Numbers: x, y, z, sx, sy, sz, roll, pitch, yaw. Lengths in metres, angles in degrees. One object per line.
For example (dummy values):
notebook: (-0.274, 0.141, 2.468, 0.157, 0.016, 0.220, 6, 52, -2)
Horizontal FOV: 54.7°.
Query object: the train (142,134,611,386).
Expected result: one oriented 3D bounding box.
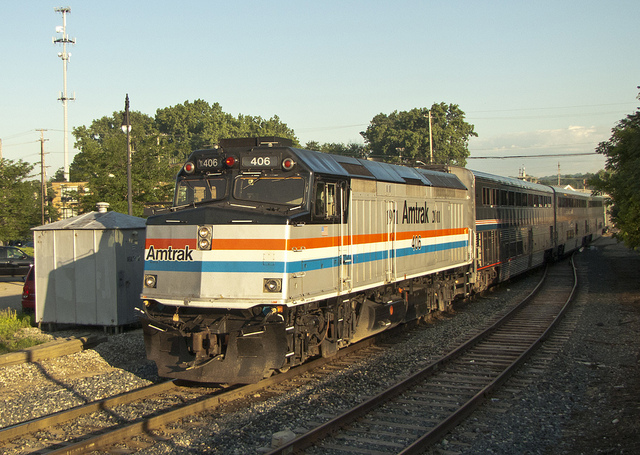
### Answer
train: (5.961, -0.089, 26.895, 5.297, 6.229, 33.113, 0, 2, 27)
